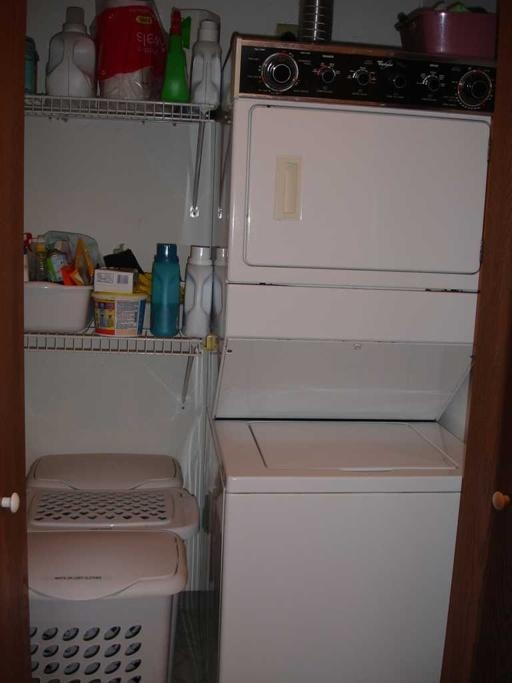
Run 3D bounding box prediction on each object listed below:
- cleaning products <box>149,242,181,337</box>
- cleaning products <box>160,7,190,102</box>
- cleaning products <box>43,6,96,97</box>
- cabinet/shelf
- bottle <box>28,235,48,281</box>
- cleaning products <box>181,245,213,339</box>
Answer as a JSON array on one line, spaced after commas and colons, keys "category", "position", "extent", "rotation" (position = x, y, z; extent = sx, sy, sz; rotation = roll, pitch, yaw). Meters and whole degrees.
[{"category": "cleaning products", "position": [-0.343, -0.194, 2.173], "extent": [0.109, 0.336, 0.152], "rotation": [0, 9, -9]}, {"category": "cleaning products", "position": [-0.282, -0.981, 2.023], "extent": [0.099, 0.322, 0.161], "rotation": [0, 9, -3]}, {"category": "cleaning products", "position": [-0.632, -0.986, 1.979], "extent": [0.168, 0.327, 0.192], "rotation": [-2, 10, -21]}, {"category": "cabinet/shelf", "position": [-0.539, -0.453, 2.710], "extent": [0.912, 1.143, 0.757], "rotation": [0, 8, -15]}, {"category": "bottle", "position": [-0.835, -0.305, 2.204], "extent": [0.068, 0.148, 0.084], "rotation": [2, 11, -2]}, {"category": "cleaning products", "position": [-0.210, -0.182, 2.143], "extent": [0.119, 0.332, 0.109], "rotation": [-3, 9, -23]}]
